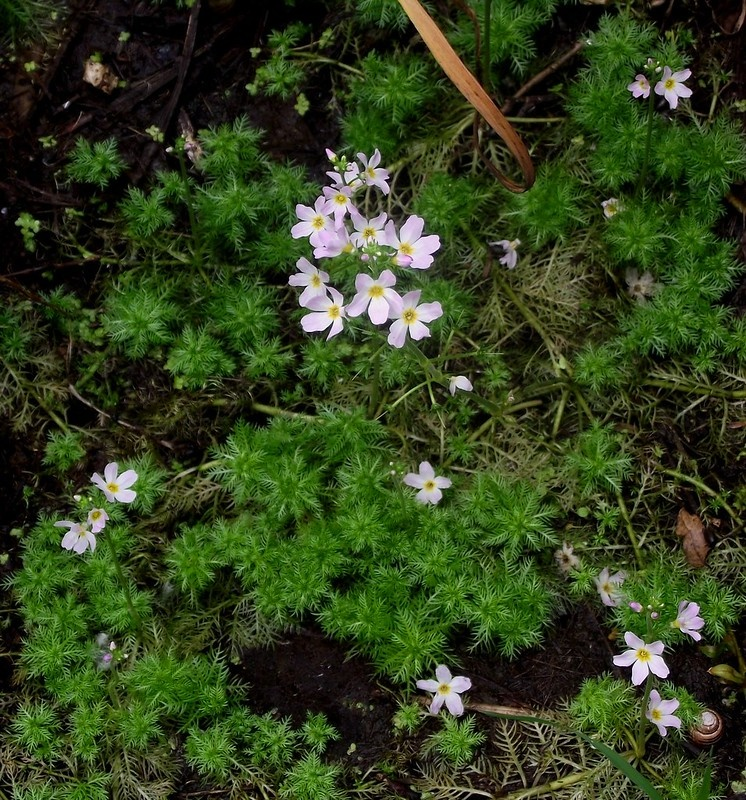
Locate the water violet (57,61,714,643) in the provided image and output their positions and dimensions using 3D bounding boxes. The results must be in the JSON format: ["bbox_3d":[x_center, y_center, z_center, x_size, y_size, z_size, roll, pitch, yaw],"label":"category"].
[{"bbox_3d":[0.323,-0.193,5.016,3.077,2.632,1.008,-55,1,4],"label":"water violet"}]

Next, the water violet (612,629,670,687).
[{"bbox_3d":[1.123,1.070,3.482,0.088,0.242,0.261,57,-142,-74],"label":"water violet"}]

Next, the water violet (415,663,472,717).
[{"bbox_3d":[0.317,1.271,3.696,0.231,0.248,0.074,-45,-1,16],"label":"water violet"}]
